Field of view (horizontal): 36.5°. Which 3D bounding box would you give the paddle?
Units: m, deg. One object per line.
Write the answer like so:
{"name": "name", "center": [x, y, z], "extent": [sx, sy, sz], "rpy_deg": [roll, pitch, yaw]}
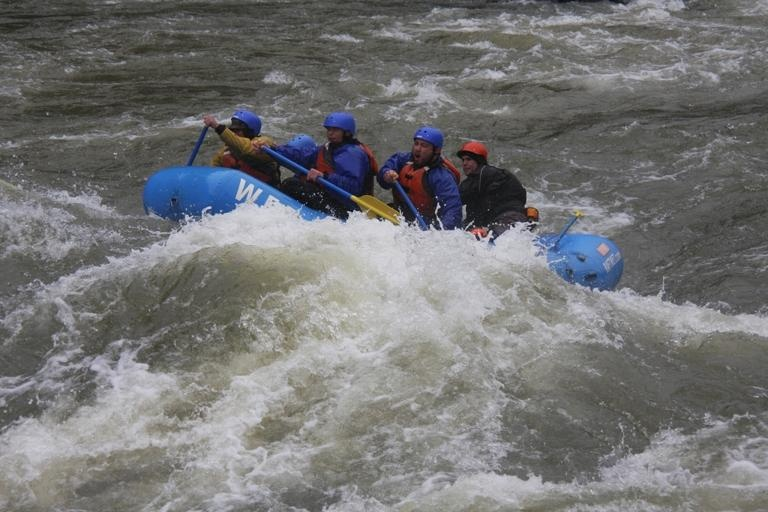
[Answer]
{"name": "paddle", "center": [-0.941, -1.159, 19.336], "extent": [3.298, 0.288, 0.334], "rpy_deg": [22, 9, 9]}

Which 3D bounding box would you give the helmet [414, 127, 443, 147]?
{"name": "helmet", "center": [0.762, -2.006, 19.625], "extent": [0.431, 0.368, 0.529], "rpy_deg": [1, 29, 8]}

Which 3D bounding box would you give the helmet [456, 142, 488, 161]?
{"name": "helmet", "center": [1.569, -1.881, 20.162], "extent": [0.609, 0.259, 0.390], "rpy_deg": [13, -11, 1]}

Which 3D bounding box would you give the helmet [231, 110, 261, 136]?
{"name": "helmet", "center": [-2.330, -2.310, 20.204], "extent": [0.605, 0.372, 0.399], "rpy_deg": [9, 3, -29]}

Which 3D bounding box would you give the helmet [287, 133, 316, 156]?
{"name": "helmet", "center": [-1.390, -1.922, 20.035], "extent": [0.459, 0.312, 0.461], "rpy_deg": [19, -2, -34]}

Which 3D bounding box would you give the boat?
{"name": "boat", "center": [-0.039, -0.496, 19.293], "extent": [6.568, 0.867, 2.791], "rpy_deg": [16, 8, -14]}
